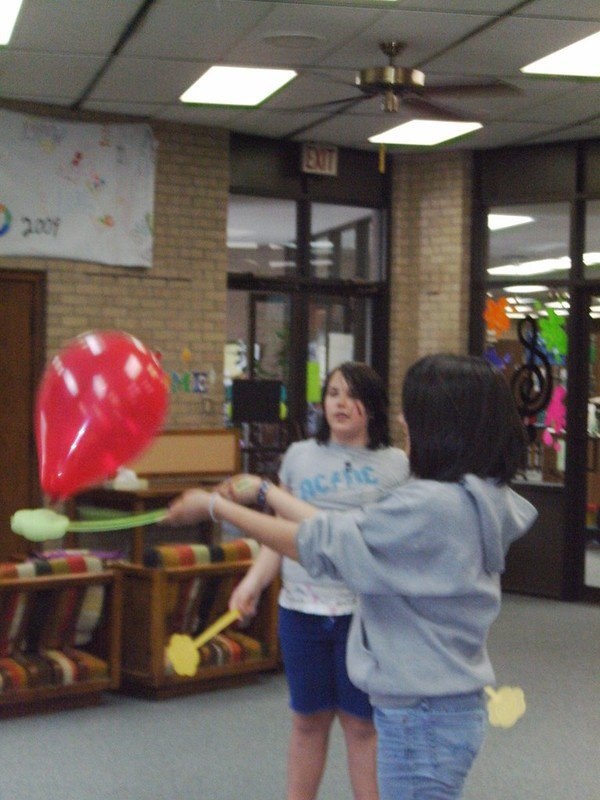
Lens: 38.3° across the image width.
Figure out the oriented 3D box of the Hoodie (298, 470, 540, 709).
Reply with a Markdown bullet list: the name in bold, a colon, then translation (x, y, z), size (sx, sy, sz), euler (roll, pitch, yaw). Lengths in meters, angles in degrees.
- **Hoodie**: translation (0.182, 0.300, 1.532), size (0.378, 0.410, 0.328), euler (3, 1, 30)

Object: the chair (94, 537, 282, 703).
- **chair**: translation (-0.485, 1.010, 3.945), size (0.705, 0.647, 0.400), euler (2, -14, -13)
